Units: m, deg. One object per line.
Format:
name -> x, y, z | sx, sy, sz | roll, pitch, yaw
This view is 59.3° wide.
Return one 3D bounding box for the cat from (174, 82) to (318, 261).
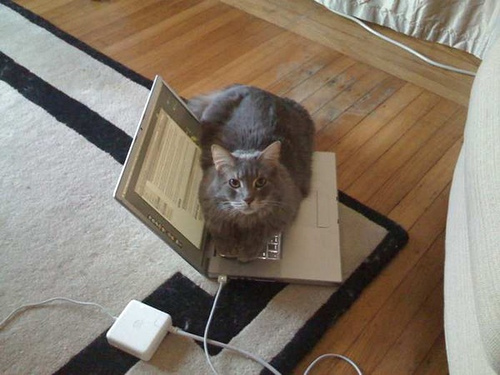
cat -> -0.065, -0.113, 2.137 | 0.747, 0.441, 0.955 | -3, 33, -4
